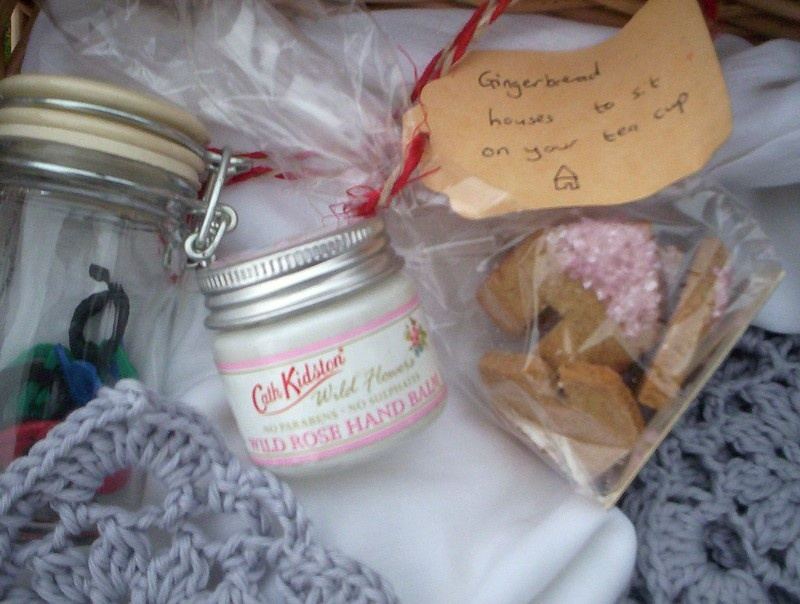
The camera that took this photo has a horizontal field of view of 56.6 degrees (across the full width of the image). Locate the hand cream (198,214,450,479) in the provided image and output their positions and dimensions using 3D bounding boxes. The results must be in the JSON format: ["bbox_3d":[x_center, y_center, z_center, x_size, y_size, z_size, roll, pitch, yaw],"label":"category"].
[{"bbox_3d":[-0.086,0.047,0.845,0.241,0.234,0.229,-18,11,-6],"label":"hand cream"}]

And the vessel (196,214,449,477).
[{"bbox_3d":[-0.091,0.054,0.847,0.226,0.231,0.236,-21,10,-33],"label":"vessel"}]
